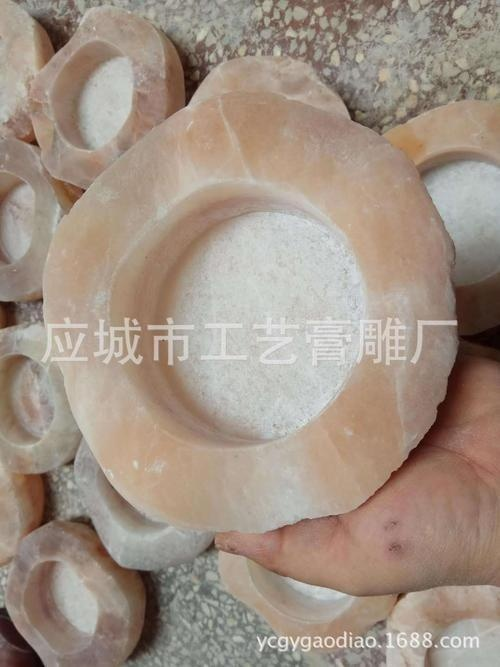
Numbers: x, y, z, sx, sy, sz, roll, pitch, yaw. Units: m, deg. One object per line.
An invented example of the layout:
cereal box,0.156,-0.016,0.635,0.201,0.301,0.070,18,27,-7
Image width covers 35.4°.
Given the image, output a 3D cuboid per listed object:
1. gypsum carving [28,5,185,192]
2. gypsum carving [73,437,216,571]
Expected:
gypsum carving,-0.426,-0.750,2.570,0.545,0.133,0.554,-37,78,24
gypsum carving,-0.335,0.555,2.568,0.338,0.168,0.451,-33,74,20
